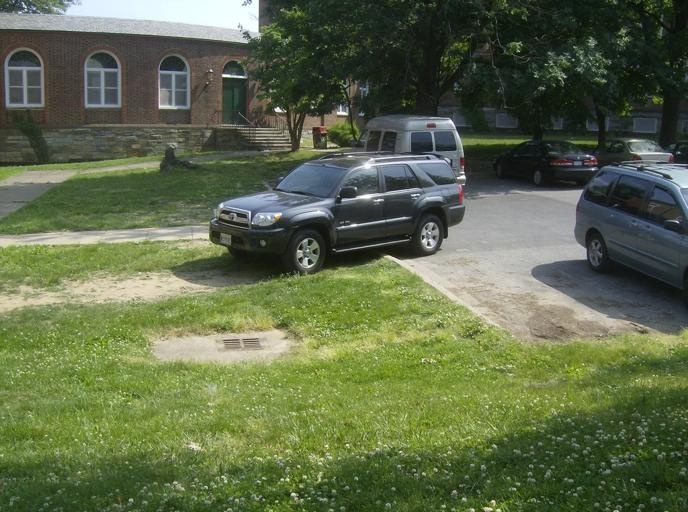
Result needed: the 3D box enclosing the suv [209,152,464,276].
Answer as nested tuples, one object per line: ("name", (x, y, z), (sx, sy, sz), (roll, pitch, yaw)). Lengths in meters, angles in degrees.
("suv", (-0.102, -1.052, 12.590), (4.832, 1.990, 2.463), (-6, 10, -34))
